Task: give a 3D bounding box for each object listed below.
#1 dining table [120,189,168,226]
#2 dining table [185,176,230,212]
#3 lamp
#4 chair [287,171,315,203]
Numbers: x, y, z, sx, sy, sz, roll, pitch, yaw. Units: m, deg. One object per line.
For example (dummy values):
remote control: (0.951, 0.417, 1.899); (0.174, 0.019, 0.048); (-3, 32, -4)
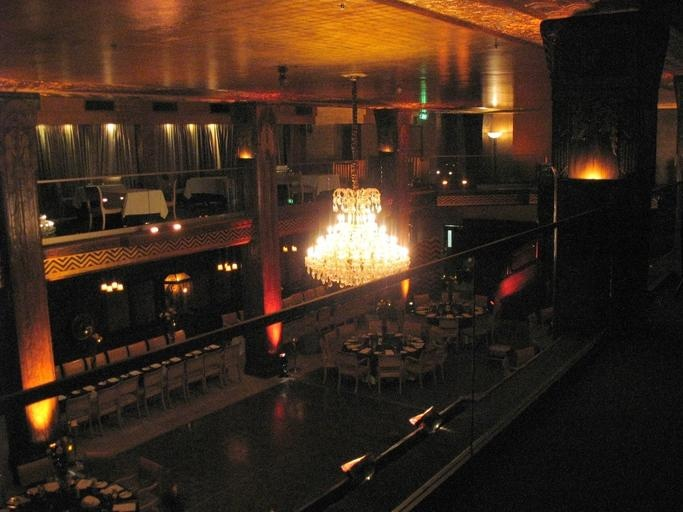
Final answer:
dining table: (-4.200, -1.021, 13.176); (0.786, 0.485, 0.910); (3, 12, 23)
dining table: (-3.280, -1.562, 15.226); (0.940, 0.486, 0.942); (2, 5, 12)
lamp: (0.185, -1.806, 10.483); (1.394, 2.541, 1.397); (1, -5, 9)
chair: (-1.210, -1.886, 17.117); (0.813, 0.772, 0.818); (5, 17, 20)
